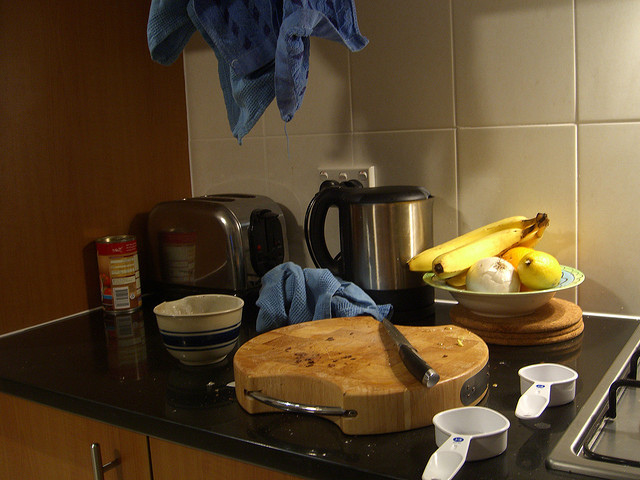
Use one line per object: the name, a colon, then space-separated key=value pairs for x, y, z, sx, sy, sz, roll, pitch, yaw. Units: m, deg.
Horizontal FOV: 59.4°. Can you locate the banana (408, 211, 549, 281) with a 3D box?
banana: x=0.346 y=0.013 z=1.239 sx=0.305 sy=0.115 sz=0.144 roll=-26 pitch=-4 yaw=-14

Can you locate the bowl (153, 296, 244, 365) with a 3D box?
bowl: x=-0.230 y=0.183 z=1.115 sx=0.164 sy=0.125 sz=0.179 roll=-2 pitch=5 yaw=0

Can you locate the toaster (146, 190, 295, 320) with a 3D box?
toaster: x=-0.273 y=0.011 z=1.542 sx=0.304 sy=0.317 sz=0.249 roll=6 pitch=13 yaw=34

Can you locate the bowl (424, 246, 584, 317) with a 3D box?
bowl: x=0.382 y=0.064 z=1.141 sx=0.177 sy=0.086 sz=0.202 roll=-10 pitch=1 yaw=-18

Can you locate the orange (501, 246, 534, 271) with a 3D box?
orange: x=0.412 y=0.036 z=1.178 sx=0.043 sy=0.063 sz=0.048 roll=0 pitch=7 yaw=-1
